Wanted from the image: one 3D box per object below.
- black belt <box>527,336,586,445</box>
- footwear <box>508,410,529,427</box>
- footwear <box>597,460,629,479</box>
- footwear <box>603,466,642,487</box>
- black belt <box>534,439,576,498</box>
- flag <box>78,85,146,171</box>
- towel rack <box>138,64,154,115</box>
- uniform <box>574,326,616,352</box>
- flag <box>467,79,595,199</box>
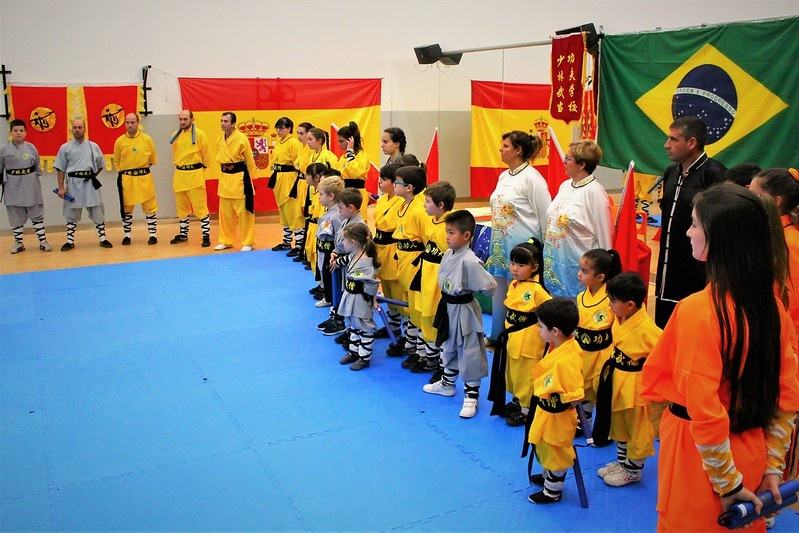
[{"bbox_3d":[1.022,0.828,4.017,0.329,0.694,0.225,1,13,12],"label":"black belt"},{"bbox_3d":[0.984,1.225,4.936,0.232,0.096,0.091,3,-2,-41],"label":"footwear"},{"bbox_3d":[1.499,1.430,4.319,0.215,0.085,0.071,-4,7,-31],"label":"footwear"},{"bbox_3d":[1.547,1.467,4.245,0.320,0.135,0.104,-4,38,-3],"label":"footwear"},{"bbox_3d":[1.037,1.358,4.094,0.264,0.445,0.173,2,13,15],"label":"black belt"},{"bbox_3d":[-4.856,-2.301,10.211,1.518,1.503,0.160,-11,13,-33],"label":"flag"},{"bbox_3d":[-4.491,-3.147,10.880,0.162,0.671,0.124,-3,17,-16],"label":"towel rack"},{"bbox_3d":[1.419,0.516,4.429,0.202,0.129,0.210,-1,4,-4],"label":"uniform"},{"bbox_3d":[2.393,-2.372,11.774,2.935,2.196,0.109,-7,13,-32],"label":"flag"}]
